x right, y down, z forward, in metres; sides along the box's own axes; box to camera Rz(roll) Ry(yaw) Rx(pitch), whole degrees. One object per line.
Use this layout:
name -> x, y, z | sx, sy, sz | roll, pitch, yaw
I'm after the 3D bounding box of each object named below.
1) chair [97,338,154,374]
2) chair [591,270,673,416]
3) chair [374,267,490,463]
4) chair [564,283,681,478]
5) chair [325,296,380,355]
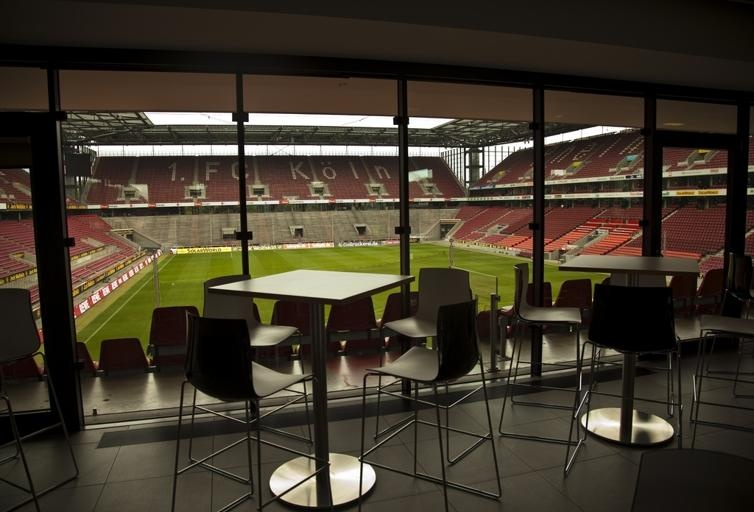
chair -> -2.723, 1.037, 6.290 | 0.530, 0.458, 0.396 | 1, 21, -4
chair -> 2.301, 0.837, 5.212 | 0.729, 1.312, 1.466 | -1, 3, 26
chair -> 0.451, 1.094, 5.088 | 0.810, 1.312, 0.801 | -11, 10, -44
chair -> 2.208, 0.862, 5.054 | 1.099, 1.666, 1.084 | -4, 22, 10
chair -> -0.289, 0.776, 6.639 | 0.776, 0.744, 0.761 | -1, 1, -7
